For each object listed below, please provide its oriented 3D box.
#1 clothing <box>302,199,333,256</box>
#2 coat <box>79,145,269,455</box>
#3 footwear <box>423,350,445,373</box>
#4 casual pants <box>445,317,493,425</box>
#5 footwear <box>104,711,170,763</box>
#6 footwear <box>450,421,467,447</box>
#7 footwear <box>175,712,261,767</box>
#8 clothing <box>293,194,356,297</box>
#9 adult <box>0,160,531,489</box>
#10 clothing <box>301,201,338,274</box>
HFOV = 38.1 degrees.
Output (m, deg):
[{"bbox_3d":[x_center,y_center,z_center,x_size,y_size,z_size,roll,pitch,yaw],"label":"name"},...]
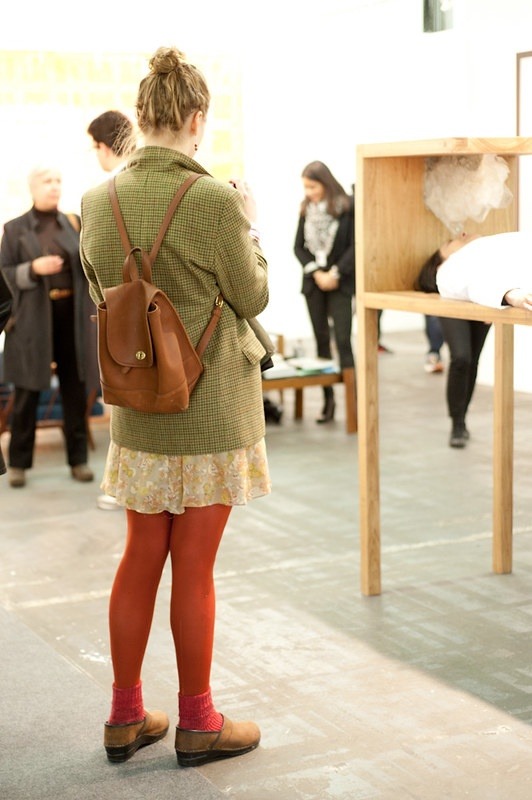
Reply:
[{"bbox_3d":[0.413,-1.299,5.848,0.259,0.366,0.125,2,3,37],"label":"clothing"},{"bbox_3d":[-0.163,-0.193,1.556,0.351,0.612,0.253,-4,6,-6],"label":"coat"},{"bbox_3d":[0.620,-0.138,2.819,0.048,0.049,0.122,-2,-26,9],"label":"footwear"},{"bbox_3d":[0.720,-0.098,2.759,0.163,0.389,0.102,-2,7,13],"label":"casual pants"},{"bbox_3d":[-0.288,0.770,1.778,0.065,0.064,0.170,-2,4,22],"label":"footwear"},{"bbox_3d":[0.712,0.125,2.826,0.064,0.089,0.037,-1,18,-1],"label":"footwear"},{"bbox_3d":[-0.107,0.771,1.767,0.213,0.081,0.079,-3,4,-39],"label":"footwear"},{"bbox_3d":[0.439,-1.149,5.702,0.476,0.651,0.130,5,4,32],"label":"clothing"},{"bbox_3d":[-0.350,-0.452,4.320,1.831,1.939,1.448,-4,12,-26],"label":"adult"},{"bbox_3d":[0.412,-1.253,5.854,0.133,0.469,0.296,-2,12,-44],"label":"clothing"}]
